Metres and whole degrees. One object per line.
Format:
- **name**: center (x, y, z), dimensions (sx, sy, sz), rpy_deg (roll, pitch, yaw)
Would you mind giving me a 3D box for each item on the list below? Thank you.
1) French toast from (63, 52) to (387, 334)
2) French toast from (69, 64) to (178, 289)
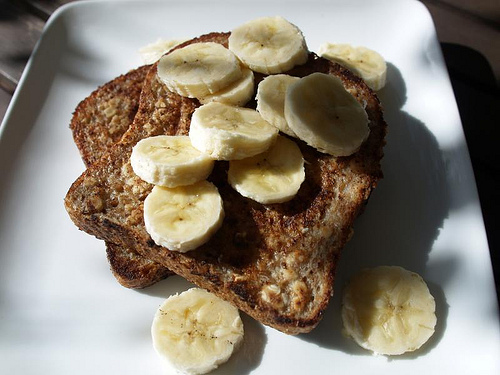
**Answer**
- **French toast**: center (0.242, 0.209, 4.832), dimensions (1.924, 2.105, 0.518), rpy_deg (32, -11, 3)
- **French toast**: center (-0.935, -0.243, 4.411), dimensions (0.829, 2.013, 0.828), rpy_deg (-13, 28, -22)
